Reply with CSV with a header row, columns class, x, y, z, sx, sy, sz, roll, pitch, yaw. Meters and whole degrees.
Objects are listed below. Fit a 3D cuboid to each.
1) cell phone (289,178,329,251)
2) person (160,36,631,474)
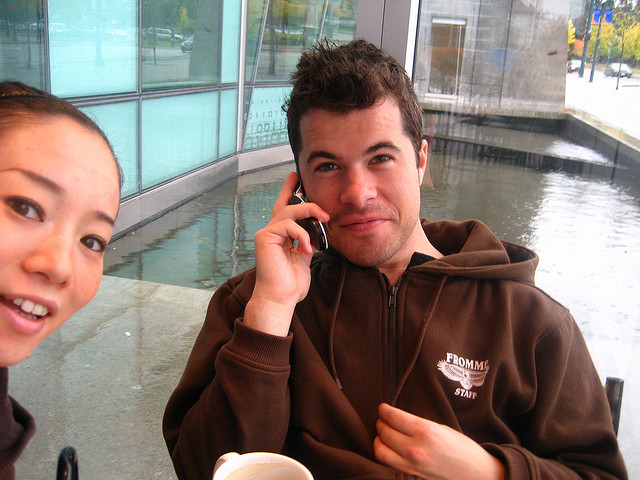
class,x,y,z,sx,sy,sz,roll,pitch,yaw
cell phone,-0.037,-0.086,1.721,0.062,0.267,0.100,-26,-7,4
person,0.269,0.053,1.649,1.474,1.421,0.885,6,18,7
